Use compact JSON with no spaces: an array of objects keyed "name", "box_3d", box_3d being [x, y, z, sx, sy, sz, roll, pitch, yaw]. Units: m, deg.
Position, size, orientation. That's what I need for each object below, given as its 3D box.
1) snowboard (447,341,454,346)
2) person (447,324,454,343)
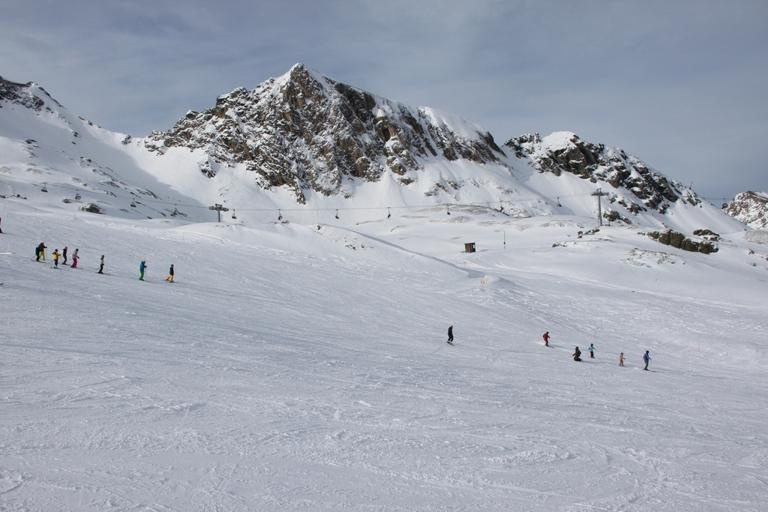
[{"name":"snowboard","box_3d":[3.945,5.077,49.221,0.501,0.128,0.593,5,9,1]},{"name":"person","box_3d":[3.949,4.579,49.647,0.499,1.007,0.336,-4,9,-37]}]
